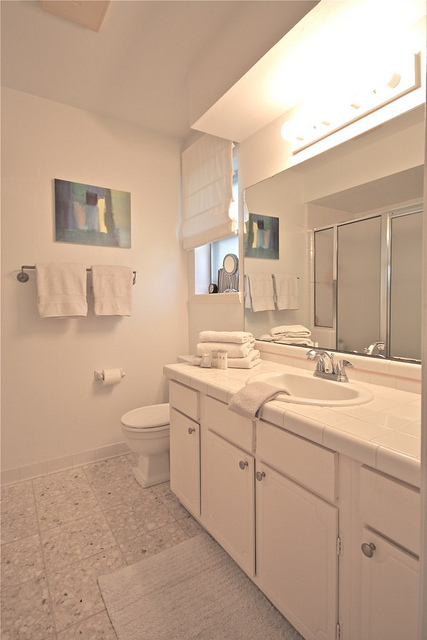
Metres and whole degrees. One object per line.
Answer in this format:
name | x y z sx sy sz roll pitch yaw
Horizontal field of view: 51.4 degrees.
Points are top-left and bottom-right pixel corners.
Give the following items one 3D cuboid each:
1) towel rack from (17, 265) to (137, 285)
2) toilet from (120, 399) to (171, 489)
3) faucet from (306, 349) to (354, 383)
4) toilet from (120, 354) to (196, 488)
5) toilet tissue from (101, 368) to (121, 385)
towel rack | -0.800 -0.270 2.705 0.754 0.140 0.056 -7 9 -41
toilet | -0.322 0.695 2.514 0.385 0.397 0.314 -4 9 -35
faucet | 0.450 0.184 1.706 0.102 0.098 0.155 6 -5 -25
toilet | -0.300 0.587 2.522 0.464 0.590 0.278 -4 6 -37
toilet tissue | -0.627 0.350 2.750 0.103 0.104 0.089 2 -37 -22
